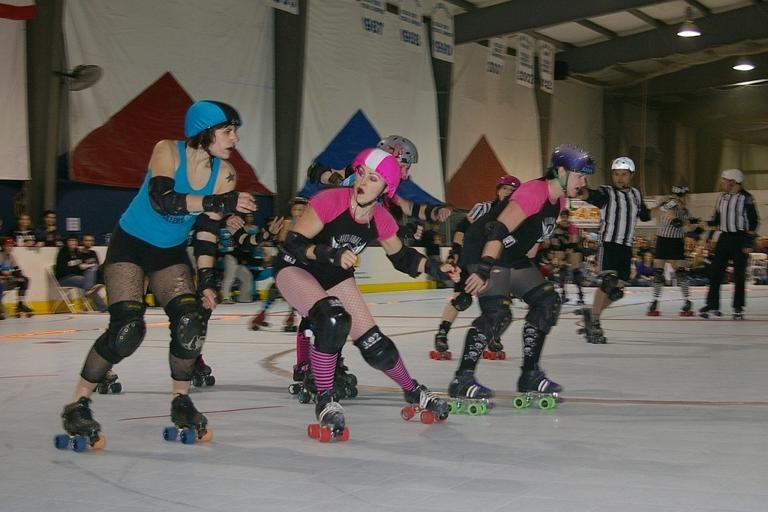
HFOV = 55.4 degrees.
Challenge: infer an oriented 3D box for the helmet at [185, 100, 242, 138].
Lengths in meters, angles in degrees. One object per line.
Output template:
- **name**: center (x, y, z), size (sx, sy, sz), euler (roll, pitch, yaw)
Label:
- **helmet**: center (-1.155, -0.923, 4.999), size (0.361, 0.250, 0.172), euler (3, 0, -14)

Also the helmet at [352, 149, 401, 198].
- **helmet**: center (-0.016, -0.614, 5.422), size (0.288, 0.278, 0.363), euler (34, 15, 9)

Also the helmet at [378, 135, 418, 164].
- **helmet**: center (0.130, -1.007, 6.919), size (0.332, 0.301, 0.257), euler (3, 9, -7)

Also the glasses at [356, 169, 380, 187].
- **glasses**: center (-0.103, -0.550, 5.241), size (0.134, 0.047, 0.133), euler (22, -8, 12)

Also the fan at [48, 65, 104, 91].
- **fan**: center (-5.764, -3.388, 13.899), size (0.877, 0.486, 0.082), euler (3, 0, -38)
